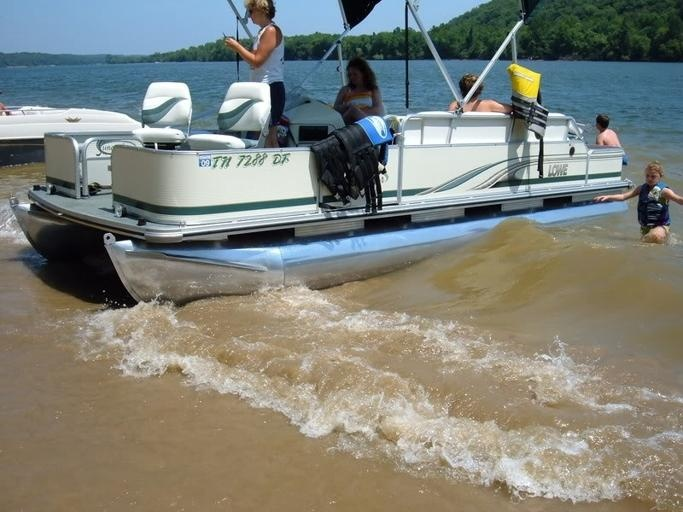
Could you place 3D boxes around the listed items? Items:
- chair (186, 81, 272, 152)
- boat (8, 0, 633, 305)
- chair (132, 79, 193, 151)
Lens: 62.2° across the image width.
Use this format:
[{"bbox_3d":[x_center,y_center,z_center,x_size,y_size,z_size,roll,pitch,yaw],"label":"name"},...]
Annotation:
[{"bbox_3d":[-1.039,-1.323,5.345,0.645,0.603,0.640,-22,30,-40],"label":"chair"},{"bbox_3d":[0.108,-0.621,7.051,6.005,2.755,3.426,-3,6,-33],"label":"boat"},{"bbox_3d":[-1.833,-1.487,5.826,0.517,0.647,0.608,-1,18,-8],"label":"chair"}]
